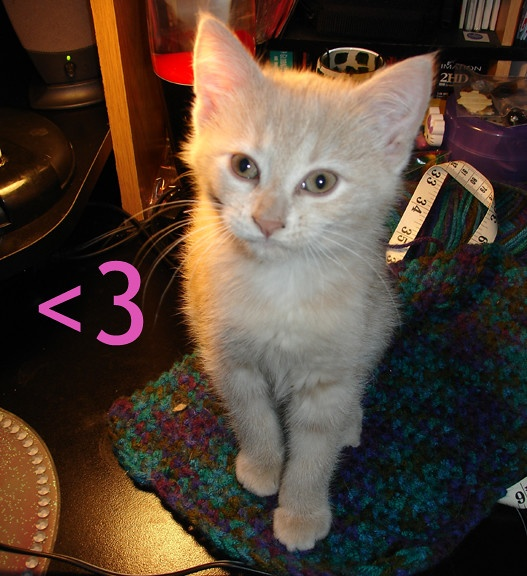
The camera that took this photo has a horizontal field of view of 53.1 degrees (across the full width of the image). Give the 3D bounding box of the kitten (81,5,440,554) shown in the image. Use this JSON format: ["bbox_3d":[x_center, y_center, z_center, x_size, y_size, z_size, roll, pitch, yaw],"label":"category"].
[{"bbox_3d":[0.005,-0.016,0.655,0.324,0.526,0.459,16,48,15],"label":"kitten"}]
